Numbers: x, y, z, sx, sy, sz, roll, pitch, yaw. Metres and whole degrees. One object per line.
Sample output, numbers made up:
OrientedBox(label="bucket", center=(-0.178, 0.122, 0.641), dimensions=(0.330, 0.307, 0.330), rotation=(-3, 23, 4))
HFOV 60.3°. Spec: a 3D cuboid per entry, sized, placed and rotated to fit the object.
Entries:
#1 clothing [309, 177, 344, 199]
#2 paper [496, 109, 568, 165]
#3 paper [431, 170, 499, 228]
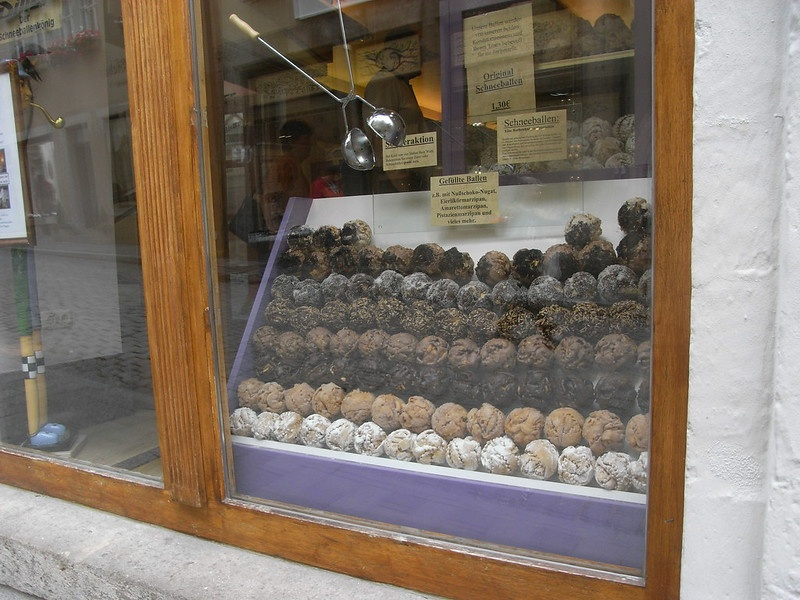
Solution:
OrientedBox(label="clothing", center=(-0.276, -0.415, 2.542), dimensions=(0.135, 0.120, 0.075), rotation=(11, 18, 34))
OrientedBox(label="paper", center=(0.429, -0.519, 2.188), dimensions=(0.210, 0.136, 0.010), rotation=(1, 1, 24))
OrientedBox(label="paper", center=(0.227, -0.342, 2.302), dimensions=(0.216, 0.145, 0.008), rotation=(3, 7, 27))
